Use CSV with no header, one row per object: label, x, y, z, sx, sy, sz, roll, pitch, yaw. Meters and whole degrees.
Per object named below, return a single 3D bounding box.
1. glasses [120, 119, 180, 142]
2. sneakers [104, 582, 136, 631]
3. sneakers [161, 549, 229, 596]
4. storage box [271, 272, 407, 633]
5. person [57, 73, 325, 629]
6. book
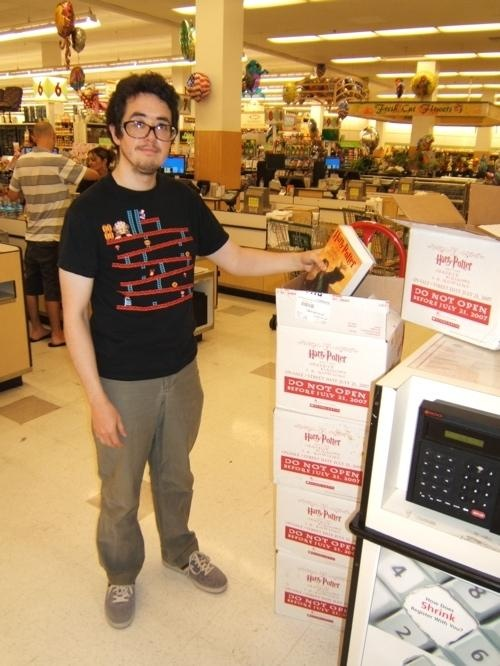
glasses,-0.260,-0.544,1.366,0.160,0.055,0.064,-12,20,-31
sneakers,-0.442,0.913,1.684,0.061,0.058,0.163,7,11,-15
sneakers,-0.205,0.873,1.857,0.217,0.089,0.090,20,21,19
storage box,0.217,0.445,1.427,0.349,1.163,0.239,3,18,15
person,-0.259,0.112,1.609,0.621,1.704,0.279,-9,19,-24
book,0.230,-0.160,1.260,0.048,0.192,0.192,10,45,-18
